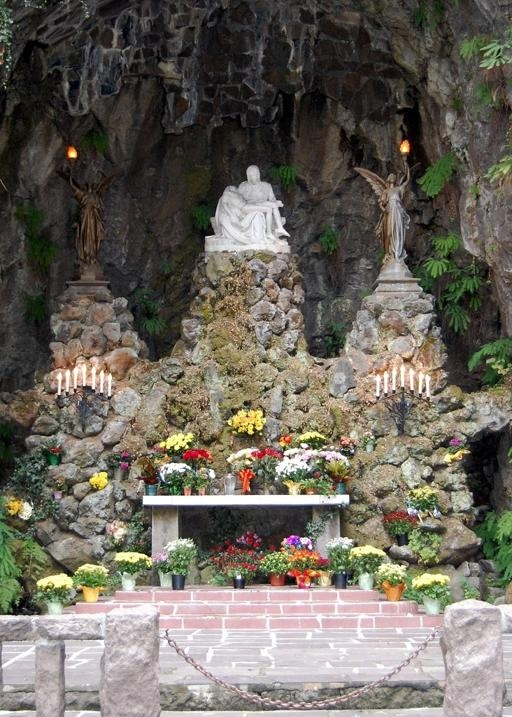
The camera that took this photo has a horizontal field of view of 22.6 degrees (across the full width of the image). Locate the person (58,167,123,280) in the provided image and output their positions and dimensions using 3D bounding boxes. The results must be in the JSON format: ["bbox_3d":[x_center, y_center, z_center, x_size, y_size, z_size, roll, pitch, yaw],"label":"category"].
[{"bbox_3d":[-2.268,-1.884,17.842,0.651,1.641,0.421,0,-1,-8],"label":"person"}]

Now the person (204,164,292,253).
[{"bbox_3d":[-0.101,-1.943,17.895,1.510,1.634,0.930,0,-4,8],"label":"person"}]
